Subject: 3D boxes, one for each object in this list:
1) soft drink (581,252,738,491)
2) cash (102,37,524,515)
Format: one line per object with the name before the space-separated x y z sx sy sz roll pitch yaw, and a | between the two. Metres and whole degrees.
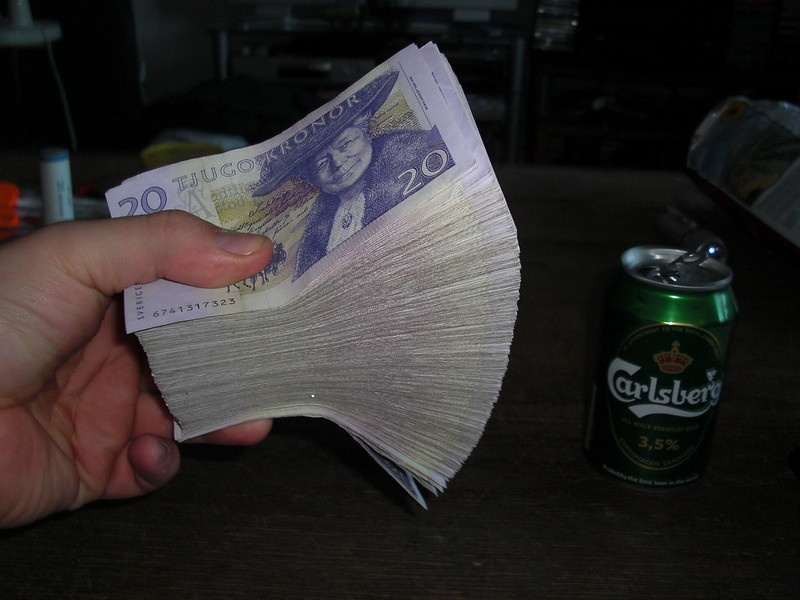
soft drink | 0.257 0.068 0.733 0.137 0.215 0.122 5 21 7
cash | -0.027 -0.051 0.756 0.467 0.421 0.169 -18 -9 11
